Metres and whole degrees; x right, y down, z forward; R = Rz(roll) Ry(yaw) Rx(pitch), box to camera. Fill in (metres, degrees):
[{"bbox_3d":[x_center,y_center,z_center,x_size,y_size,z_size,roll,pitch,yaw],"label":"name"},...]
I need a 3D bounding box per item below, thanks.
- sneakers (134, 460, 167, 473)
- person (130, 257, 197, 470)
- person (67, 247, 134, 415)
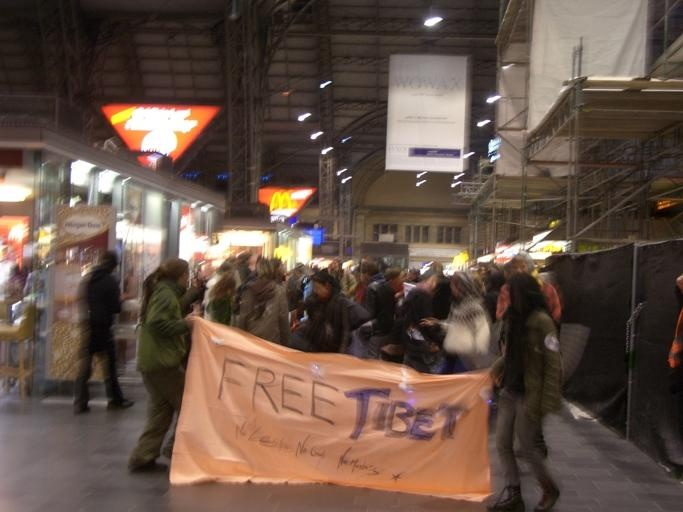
[{"bbox_3d":[-2.281,2.493,8.608,0.453,0.111,0.227,0,5,-13],"label":"sneakers"},{"bbox_3d":[-2.178,1.295,8.792,0.718,2.456,0.745,0,5,-10],"label":"person"},{"bbox_3d":[-3.636,1.121,11.017,0.827,2.328,0.693,-1,5,-23],"label":"person"}]
